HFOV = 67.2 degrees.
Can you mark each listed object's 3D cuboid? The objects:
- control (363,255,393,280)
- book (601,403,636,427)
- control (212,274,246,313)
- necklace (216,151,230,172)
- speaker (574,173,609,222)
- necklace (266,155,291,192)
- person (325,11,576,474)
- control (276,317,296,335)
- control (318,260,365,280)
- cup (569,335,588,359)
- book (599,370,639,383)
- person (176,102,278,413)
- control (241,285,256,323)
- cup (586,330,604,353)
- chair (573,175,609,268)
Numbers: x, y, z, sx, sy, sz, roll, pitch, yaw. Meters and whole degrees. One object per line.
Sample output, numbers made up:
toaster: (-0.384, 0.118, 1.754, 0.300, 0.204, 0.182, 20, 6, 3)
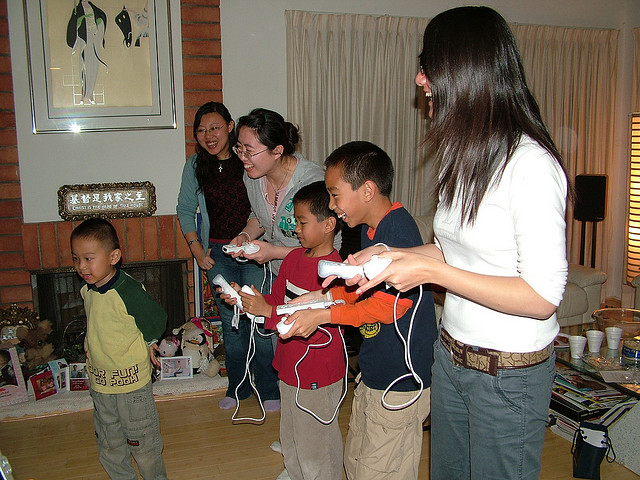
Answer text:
control: (0.161, 0.081, 1.400, 0.074, 0.053, 0.018, -45, -17, 5)
book: (1.775, 1.047, 2.889, 0.142, 0.025, 0.057, -41, -2, -9)
control: (-0.407, 0.254, 2.245, 0.159, 0.187, 0.078, -1, 9, 26)
necklace: (-0.635, -0.521, 3.196, 0.115, 0.162, 0.006, 4, -13, 10)
speaker: (2.731, -0.376, 4.896, 0.314, 0.518, 0.303, -3, -20, 45)
necklace: (-0.235, -0.379, 2.765, 0.169, 0.185, 0.058, 1, 10, 35)
person: (0.451, 0.086, 1.493, 0.591, 1.511, 0.492, 0, 9, 30)
control: (-0.126, 0.322, 1.805, 0.068, 0.057, 0.042, -3, 9, 17)
control: (0.063, 0.094, 1.548, 0.163, 0.060, 0.044, 4, 0, 39)
cup: (1.599, 0.662, 3.032, 0.110, 0.137, 0.121, 2, 2, 1)
book: (1.735, 0.797, 2.808, 0.218, 0.047, 0.108, -7, 9, -8)
person: (-0.554, 0.204, 3.312, 0.732, 2.249, 0.677, -3, 15, 2)
control: (-0.321, 0.297, 2.206, 0.061, 0.189, 0.109, -7, 9, -17)
cup: (1.730, 0.634, 3.045, 0.108, 0.138, 0.116, 3, -1, 0)
chair: (2.791, -0.077, 5.020, 0.273, 1.309, 0.256, 8, 30, 37)
